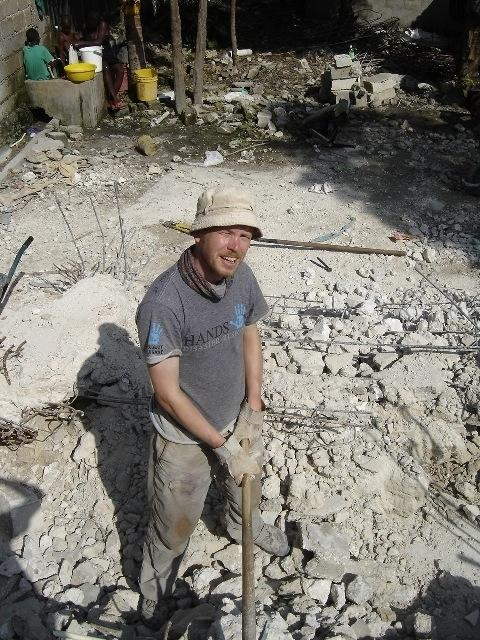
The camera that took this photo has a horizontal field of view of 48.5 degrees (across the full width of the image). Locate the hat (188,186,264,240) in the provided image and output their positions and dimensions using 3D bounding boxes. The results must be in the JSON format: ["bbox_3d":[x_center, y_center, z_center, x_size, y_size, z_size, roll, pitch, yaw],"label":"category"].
[{"bbox_3d":[-0.048,-0.369,1.940,0.257,0.220,0.236,4,30,2],"label":"hat"}]

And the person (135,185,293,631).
[{"bbox_3d":[-0.104,0.501,2.249,0.727,2.040,0.471,-22,37,-36],"label":"person"}]

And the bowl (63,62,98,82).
[{"bbox_3d":[-2.460,-3.820,8.231,0.475,0.241,0.393,-5,31,-14],"label":"bowl"}]

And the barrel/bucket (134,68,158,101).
[{"bbox_3d":[-1.525,-4.019,9.115,0.461,0.516,0.529,1,42,-1],"label":"barrel/bucket"}]
